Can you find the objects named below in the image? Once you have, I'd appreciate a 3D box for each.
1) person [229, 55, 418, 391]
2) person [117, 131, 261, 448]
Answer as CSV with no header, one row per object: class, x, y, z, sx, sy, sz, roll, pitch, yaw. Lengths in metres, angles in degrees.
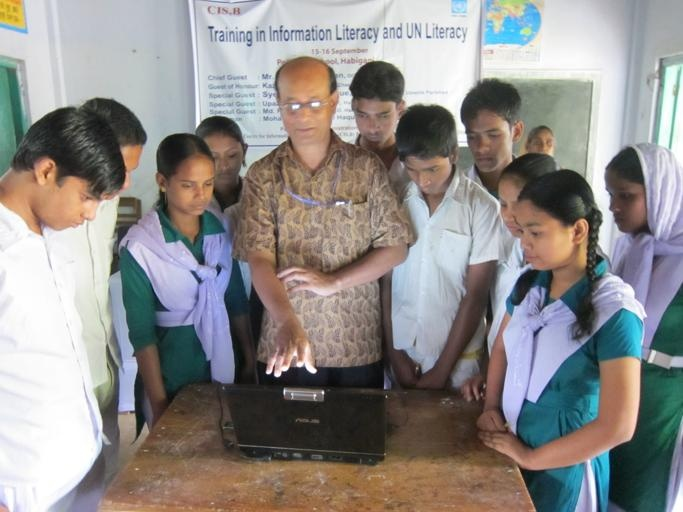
person,-0.037,-0.083,2.381,0.652,1.302,0.480,-7,16,-27
person,-0.685,0.359,2.766,0.503,1.775,0.441,-14,30,-34
